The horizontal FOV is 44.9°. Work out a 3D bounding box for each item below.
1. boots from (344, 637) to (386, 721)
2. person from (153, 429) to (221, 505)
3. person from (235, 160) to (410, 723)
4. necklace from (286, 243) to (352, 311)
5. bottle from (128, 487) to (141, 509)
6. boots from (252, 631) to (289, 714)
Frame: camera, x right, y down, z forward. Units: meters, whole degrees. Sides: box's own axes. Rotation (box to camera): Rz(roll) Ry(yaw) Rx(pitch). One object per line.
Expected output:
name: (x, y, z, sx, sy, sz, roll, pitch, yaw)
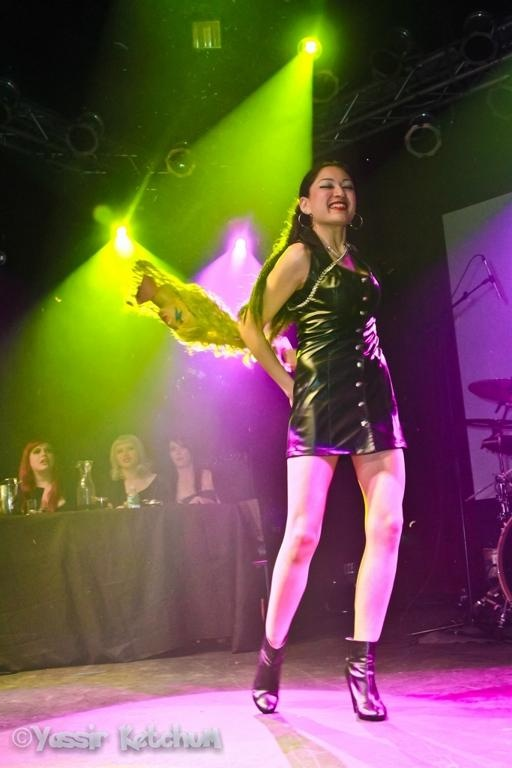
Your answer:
boots: (0.294, 0.790, 1.686, 0.101, 0.197, 0.199, 1, -11, 4)
person: (-0.437, 0.529, 3.833, 0.350, 0.417, 1.511, 3, -11, -9)
person: (0.185, 0.104, 1.879, 0.509, 1.684, 0.294, -1, -11, 13)
necklace: (0.190, -0.325, 1.891, 0.040, 0.265, 0.035, 47, -16, -24)
bottle: (-0.681, 0.636, 3.483, 0.058, 0.071, 0.062, 6, -25, -31)
boots: (0.032, 0.827, 1.781, 0.078, 0.210, 0.140, 1, -11, 0)
